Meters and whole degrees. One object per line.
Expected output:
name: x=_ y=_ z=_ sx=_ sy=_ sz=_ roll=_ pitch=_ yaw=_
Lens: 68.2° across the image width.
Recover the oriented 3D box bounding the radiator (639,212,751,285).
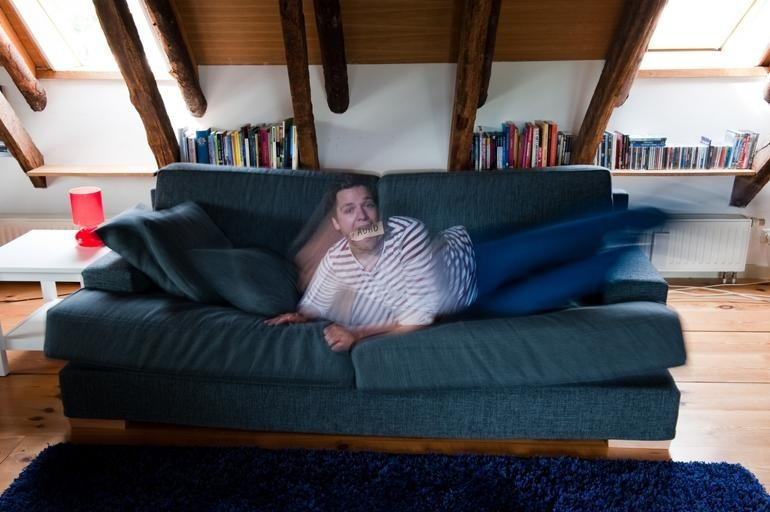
radiator: x=1.929 y=-0.068 z=3.578 sx=0.641 sy=0.326 sz=0.175 roll=0 pitch=38 yaw=6

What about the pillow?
pillow: x=-0.910 y=0.004 z=2.863 sx=0.866 sy=0.266 sz=0.535 roll=15 pitch=22 yaw=10
